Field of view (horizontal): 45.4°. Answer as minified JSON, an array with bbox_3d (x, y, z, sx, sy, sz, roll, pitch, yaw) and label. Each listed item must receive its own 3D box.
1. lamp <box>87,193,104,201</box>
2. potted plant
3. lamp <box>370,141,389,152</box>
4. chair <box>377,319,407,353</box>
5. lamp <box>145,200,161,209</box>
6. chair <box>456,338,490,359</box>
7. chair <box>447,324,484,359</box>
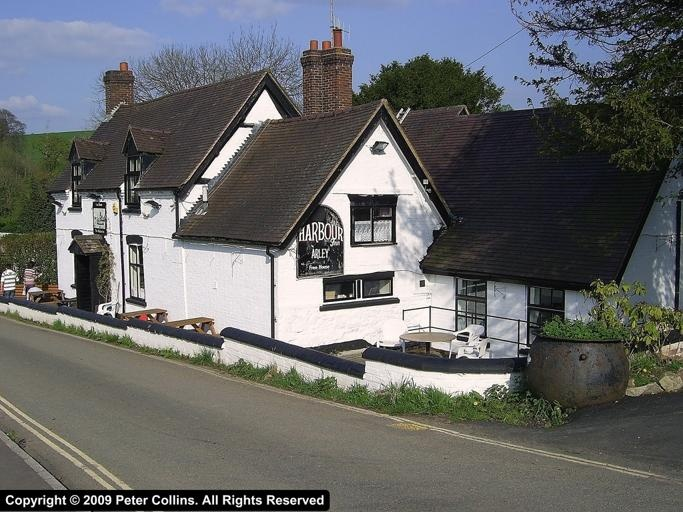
[{"bbox_3d":[-9.904,-2.368,32.692,0.359,0.337,1.223,-8,11,-29],"label":"lamp"},{"bbox_3d":[5.286,2.395,18.516,1.804,1.703,1.897,0,-9,9],"label":"potted plant"},{"bbox_3d":[1.246,-3.452,25.888,0.665,0.394,0.299,-11,13,-43],"label":"lamp"},{"bbox_3d":[1.420,2.322,24.072,0.828,1.212,0.883,1,-3,19],"label":"chair"},{"bbox_3d":[-6.617,-1.810,28.669,0.273,0.328,0.747,-8,12,-33],"label":"lamp"},{"bbox_3d":[3.672,2.572,22.532,0.748,0.878,0.646,1,-2,3],"label":"chair"},{"bbox_3d":[3.524,2.388,22.810,1.042,1.186,0.931,2,-3,-28],"label":"chair"}]
